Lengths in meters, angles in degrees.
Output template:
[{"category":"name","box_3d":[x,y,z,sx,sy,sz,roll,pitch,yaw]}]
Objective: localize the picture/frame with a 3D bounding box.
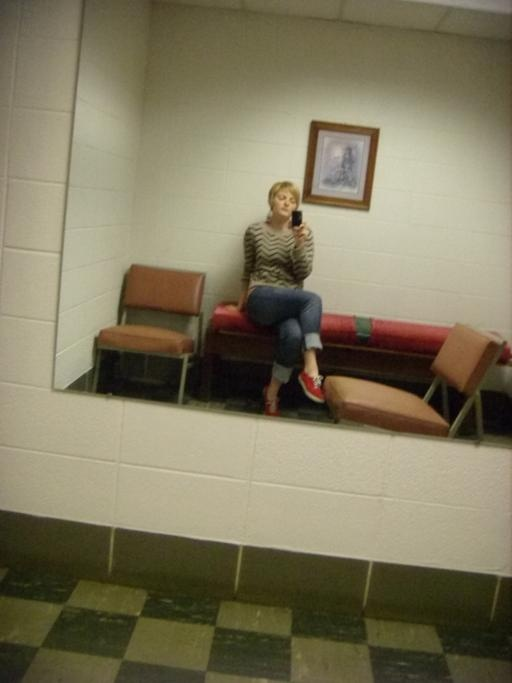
[{"category":"picture/frame","box_3d":[0.207,-0.435,1.307,0.192,0.225,0.018,5,14,-1]}]

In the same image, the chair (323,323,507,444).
[{"category":"chair","box_3d":[0.387,0.074,1.553,0.449,0.381,0.254,3,17,-4]}]
